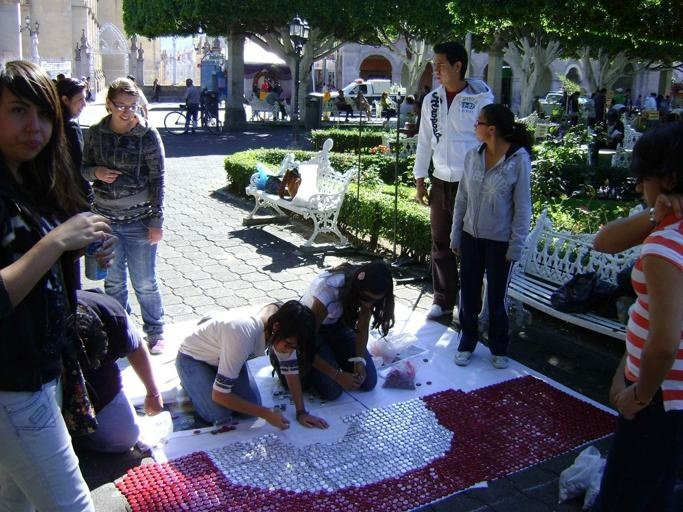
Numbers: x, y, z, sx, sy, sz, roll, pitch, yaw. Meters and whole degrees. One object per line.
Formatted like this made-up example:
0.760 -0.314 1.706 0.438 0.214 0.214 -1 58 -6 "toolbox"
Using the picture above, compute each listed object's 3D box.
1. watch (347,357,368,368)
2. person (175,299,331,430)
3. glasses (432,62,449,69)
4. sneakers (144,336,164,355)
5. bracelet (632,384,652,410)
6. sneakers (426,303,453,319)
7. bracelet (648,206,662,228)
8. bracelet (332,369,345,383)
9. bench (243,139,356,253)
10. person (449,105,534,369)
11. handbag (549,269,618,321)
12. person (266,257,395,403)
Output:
0.129 0.846 4.176 0.098 0.045 0.077 15 7 25 "watch"
-0.644 0.731 3.687 1.111 0.984 0.499 1 14 -2 "person"
0.961 -1.855 5.080 0.082 0.082 0.101 -10 13 -36 "glasses"
-1.713 0.816 4.748 0.121 0.153 0.152 -3 1 -38 "sneakers"
1.262 0.593 2.165 0.023 0.088 0.086 -25 6 22 "bracelet"
1.079 0.588 5.593 0.330 0.162 0.120 -5 -2 -36 "sneakers"
1.306 -0.165 2.166 0.015 0.062 0.063 -6 41 10 "bracelet"
-0.009 0.923 4.031 0.106 0.045 0.087 30 -19 23 "bracelet"
-0.501 -1.183 8.382 0.636 1.141 1.685 -2 21 -24 "bench"
1.295 -0.172 4.571 0.658 2.231 0.525 6 14 19 "person"
2.237 0.366 4.771 0.441 0.206 0.402 -13 34 -6 "handbag"
-0.066 0.636 4.119 0.509 0.908 0.664 -23 49 -39 "person"
